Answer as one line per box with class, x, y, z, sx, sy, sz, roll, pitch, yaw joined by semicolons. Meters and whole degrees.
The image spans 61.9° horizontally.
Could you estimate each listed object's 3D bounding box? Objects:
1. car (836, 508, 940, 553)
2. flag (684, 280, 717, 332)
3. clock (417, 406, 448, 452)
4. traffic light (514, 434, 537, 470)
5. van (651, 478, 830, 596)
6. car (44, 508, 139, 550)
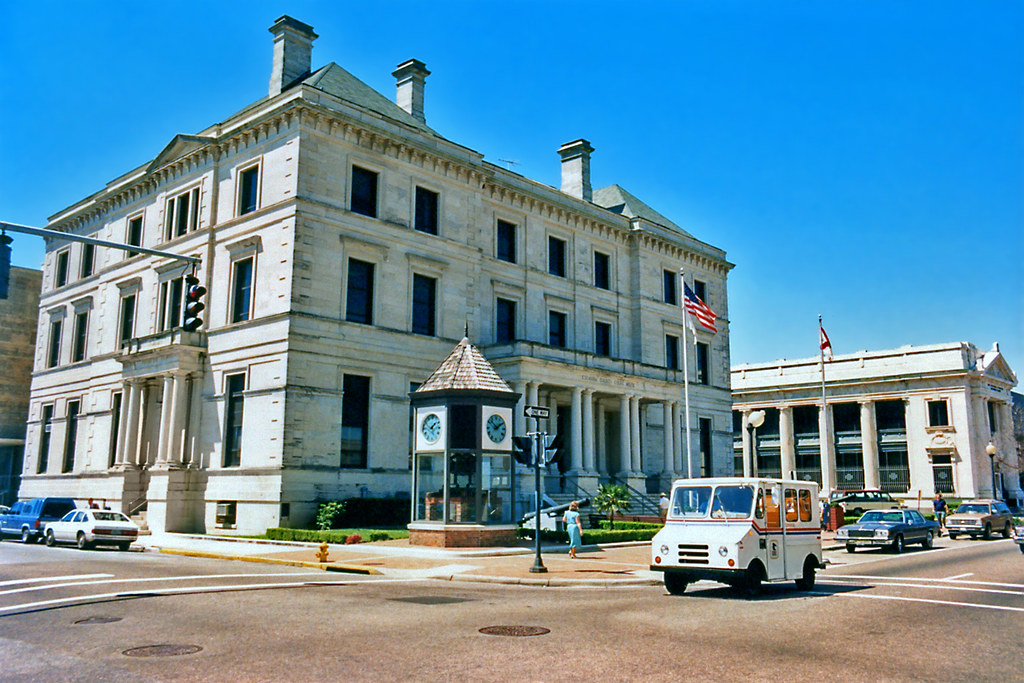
car;17.148;8.568;38.990;4.739;1.999;1.719;9;-17;-30
flag;9.517;-1.823;44.157;1.929;2.209;1.146;12;-19;-34
clock;-3.374;3.617;35.281;1.706;1.854;0.369;-12;-21;40
traffic light;0.385;3.660;29.016;1.137;1.211;0.906;0;-4;-6
van;6.826;5.677;25.180;4.834;3.446;1.980;7;-17;-23
car;-17.839;7.889;36.078;4.210;1.689;1.408;-9;-18;33
